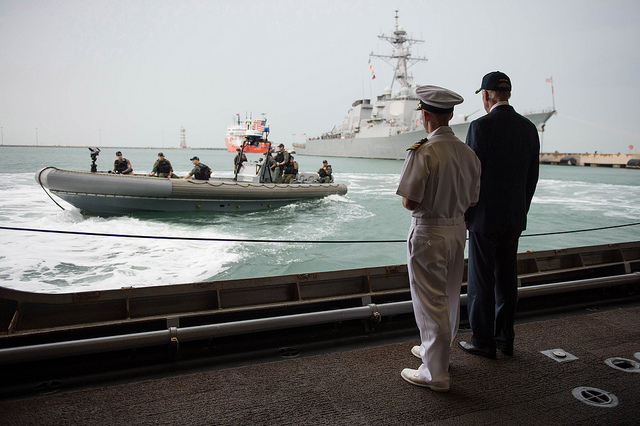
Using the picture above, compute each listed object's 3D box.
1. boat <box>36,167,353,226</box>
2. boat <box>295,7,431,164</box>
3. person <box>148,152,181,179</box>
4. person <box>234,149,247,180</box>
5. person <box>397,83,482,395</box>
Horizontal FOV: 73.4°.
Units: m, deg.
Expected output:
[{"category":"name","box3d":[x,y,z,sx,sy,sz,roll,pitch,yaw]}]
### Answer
[{"category":"boat","box3d":[-3.376,-0.377,11.405,4.716,0.811,1.580,5,-4,-35]},{"category":"boat","box3d":[4.193,-9.929,39.076,2.734,10.742,18.217,-1,11,-17]},{"category":"person","box3d":[-4.355,-1.070,11.870,0.593,1.132,0.357,-6,19,-29]},{"category":"person","box3d":[-2.489,-1.525,12.944,0.269,1.001,0.375,17,22,11]},{"category":"person","box3d":[0.728,0.157,2.742,0.398,1.884,0.475,7,12,27]}]
